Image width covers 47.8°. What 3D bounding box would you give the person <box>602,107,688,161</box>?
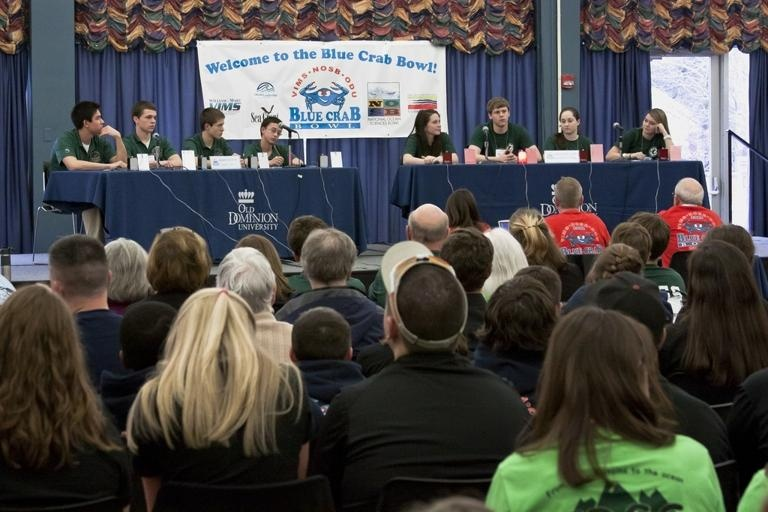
[{"bbox_3d":[2.492,-1.182,8.435,0.590,0.549,0.824,0,2,17],"label":"person"}]

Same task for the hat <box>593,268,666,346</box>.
[{"bbox_3d":[1.168,0.288,4.105,0.266,0.248,0.440,6,29,4],"label":"hat"}]

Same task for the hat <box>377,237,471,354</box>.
[{"bbox_3d":[0.125,0.144,3.298,0.277,0.390,0.393,-1,2,-15],"label":"hat"}]

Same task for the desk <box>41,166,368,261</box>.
[{"bbox_3d":[-1.431,-0.368,7.323,2.581,0.735,0.315,-2,2,-17],"label":"desk"}]
